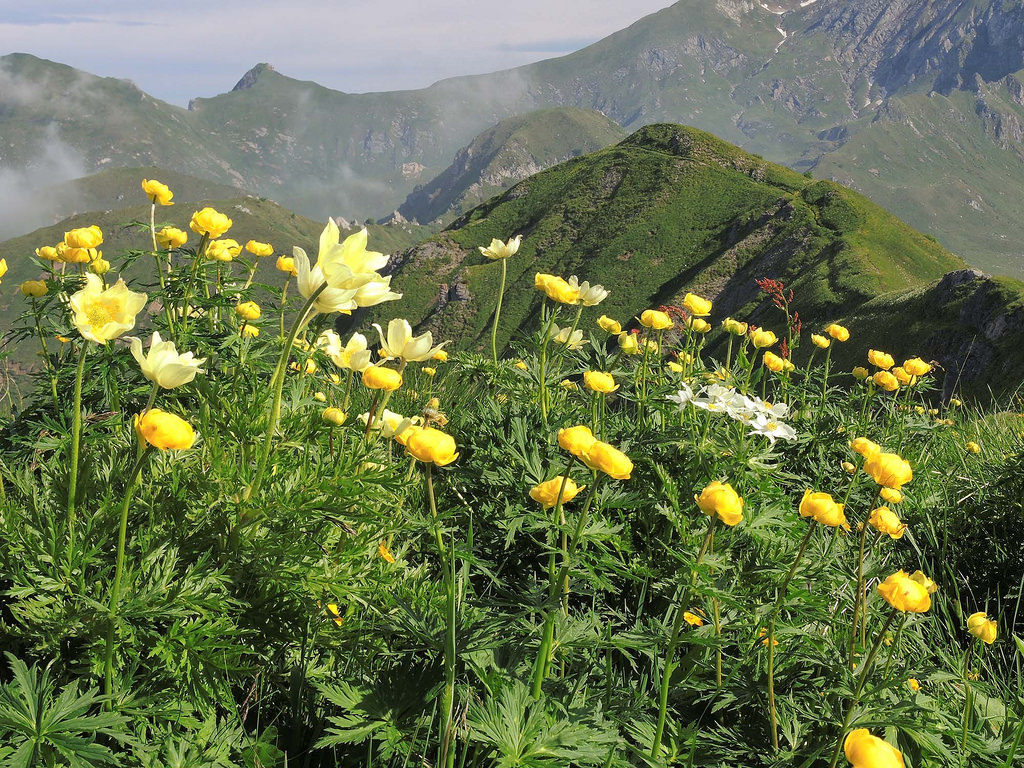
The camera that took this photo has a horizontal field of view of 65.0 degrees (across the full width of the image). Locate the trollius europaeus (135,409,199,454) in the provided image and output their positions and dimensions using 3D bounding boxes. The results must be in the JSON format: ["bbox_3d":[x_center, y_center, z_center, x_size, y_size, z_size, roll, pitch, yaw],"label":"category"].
[{"bbox_3d":[-1.256,0.186,2.971,0.176,0.071,0.199,50,25,17],"label":"trollius europaeus"}]

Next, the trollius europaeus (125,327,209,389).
[{"bbox_3d":[-1.357,-0.052,3.265,0.266,0.163,0.281,30,4,17],"label":"trollius europaeus"}]
